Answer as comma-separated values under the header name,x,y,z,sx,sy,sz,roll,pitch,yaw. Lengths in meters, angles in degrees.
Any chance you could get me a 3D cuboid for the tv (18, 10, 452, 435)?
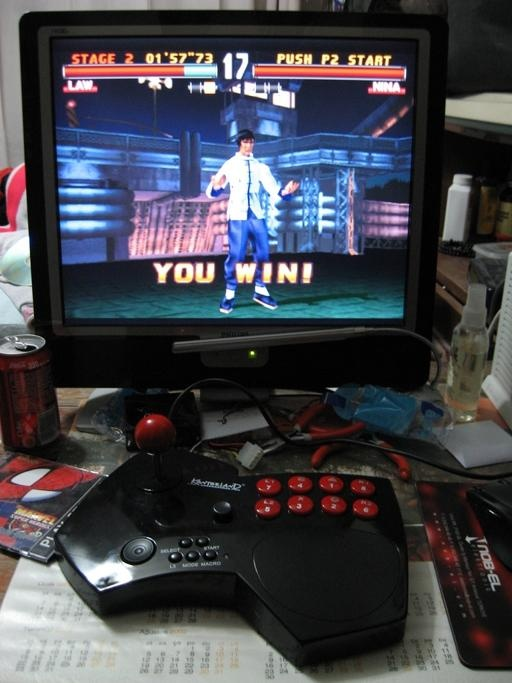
name,x,y,z,sx,sy,sz,roll,pitch,yaw
tv,-0.032,-0.156,0.704,0.533,0.467,0.108,-2,23,-1
